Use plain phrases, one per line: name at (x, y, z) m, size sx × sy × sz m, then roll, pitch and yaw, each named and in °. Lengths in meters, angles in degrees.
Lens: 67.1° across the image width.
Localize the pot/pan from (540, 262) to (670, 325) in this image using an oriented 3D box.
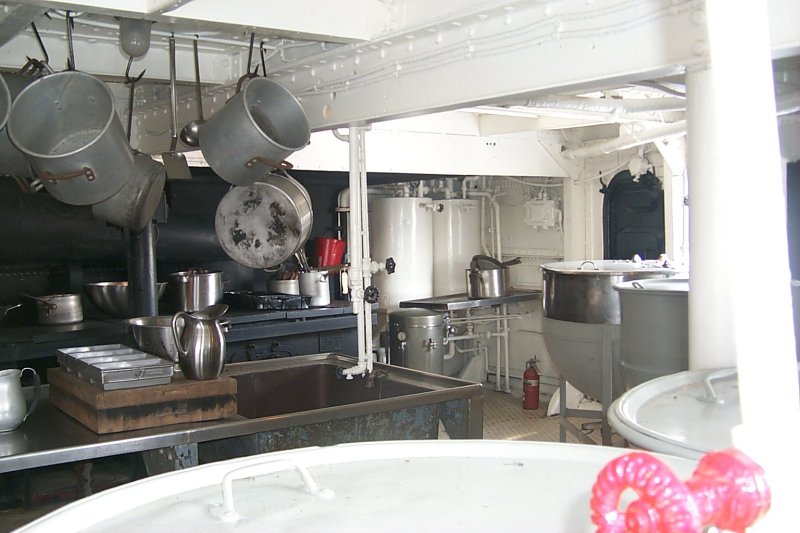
pot/pan at (1.419, 0.175, 4.180) m, size 0.601 × 0.379 × 0.882 m, roll -8°, pitch 9°, yaw -29°

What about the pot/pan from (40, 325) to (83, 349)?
pot/pan at (-2.048, 0.408, 3.665) m, size 0.220 × 0.094 × 0.383 m, roll -8°, pitch 9°, yaw -28°

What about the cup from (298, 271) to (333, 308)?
cup at (-0.637, 0.160, 4.543) m, size 0.295 × 0.267 × 0.262 m, roll 3°, pitch 6°, yaw 41°

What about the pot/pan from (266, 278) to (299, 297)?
pot/pan at (-0.873, 0.160, 4.535) m, size 0.155 × 0.099 × 0.151 m, roll 1°, pitch -3°, yaw -27°

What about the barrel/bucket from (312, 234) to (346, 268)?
barrel/bucket at (-0.605, -0.116, 5.089) m, size 0.286 × 0.221 × 0.242 m, roll 1°, pitch -4°, yaw 13°

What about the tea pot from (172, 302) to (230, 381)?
tea pot at (-0.765, 0.301, 2.305) m, size 0.178 × 0.247 × 0.151 m, roll -7°, pitch 9°, yaw -20°

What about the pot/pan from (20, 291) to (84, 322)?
pot/pan at (-2.188, 0.261, 3.805) m, size 0.330 × 0.195 × 0.185 m, roll -3°, pitch 3°, yaw -22°

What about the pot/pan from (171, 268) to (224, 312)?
pot/pan at (-1.338, 0.157, 4.202) m, size 0.352 × 0.300 × 0.450 m, roll -2°, pitch -2°, yaw 35°

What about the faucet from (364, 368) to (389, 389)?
faucet at (-0.112, 0.522, 2.809) m, size 0.112 × 0.075 × 0.065 m, roll 3°, pitch -3°, yaw -8°

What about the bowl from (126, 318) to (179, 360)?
bowl at (-1.098, 0.283, 2.656) m, size 0.209 × 0.101 × 0.273 m, roll 1°, pitch 5°, yaw -44°

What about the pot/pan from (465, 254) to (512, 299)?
pot/pan at (0.856, 0.114, 6.010) m, size 0.472 × 0.373 × 0.346 m, roll 0°, pitch -3°, yaw -40°

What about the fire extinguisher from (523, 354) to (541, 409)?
fire extinguisher at (1.288, 1.135, 5.955) m, size 0.179 × 0.428 × 0.516 m, roll -2°, pitch 8°, yaw 11°

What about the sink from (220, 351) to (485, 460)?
sink at (-0.242, 0.613, 2.768) m, size 0.999 × 0.311 × 0.899 m, roll -6°, pitch 9°, yaw -20°
